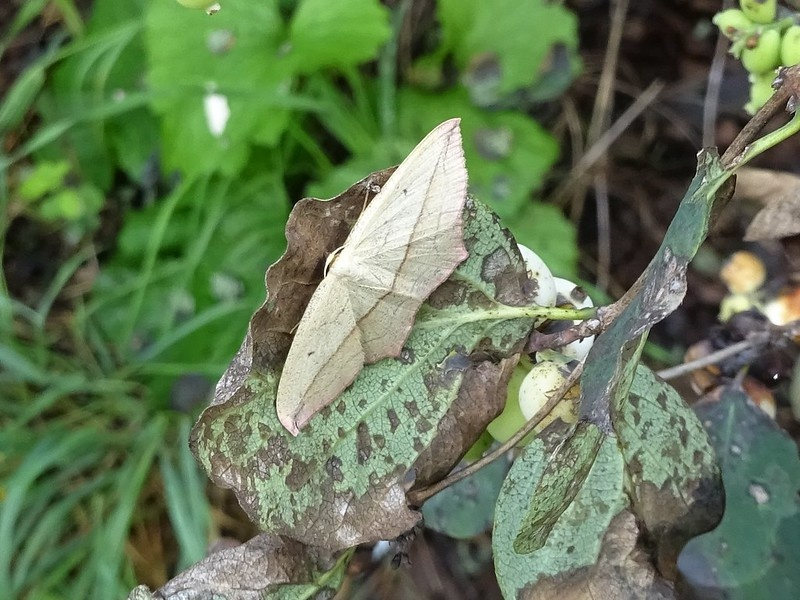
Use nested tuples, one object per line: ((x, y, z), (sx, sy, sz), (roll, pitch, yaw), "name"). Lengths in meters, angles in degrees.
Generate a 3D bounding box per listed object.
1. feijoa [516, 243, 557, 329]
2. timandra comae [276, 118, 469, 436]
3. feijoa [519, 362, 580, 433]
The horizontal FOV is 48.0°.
((0.174, -0.026, 1.149), (0.043, 0.110, 0.047), (8, 31, 17), "feijoa")
((-0.031, -0.022, 1.088), (0.125, 0.150, 0.390), (38, 78, 17), "timandra comae")
((0.189, 0.109, 1.134), (0.065, 0.067, 0.086), (5, 105, 21), "feijoa")
